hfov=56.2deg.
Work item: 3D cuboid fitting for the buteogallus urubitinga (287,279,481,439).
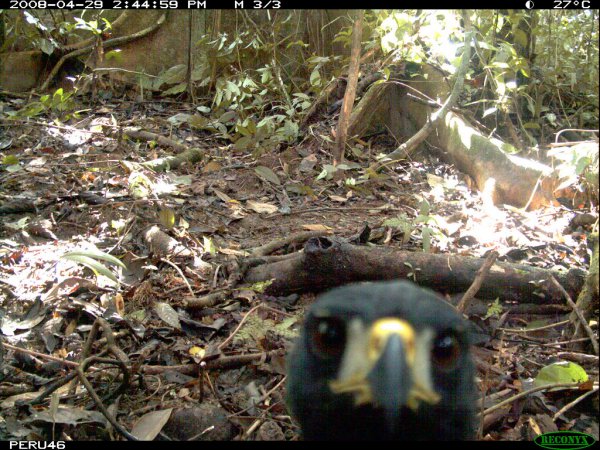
[{"bbox_3d":[0.335,0.625,2.622,0.848,0.687,1.047,6,-6,-1],"label":"buteogallus urubitinga"}]
